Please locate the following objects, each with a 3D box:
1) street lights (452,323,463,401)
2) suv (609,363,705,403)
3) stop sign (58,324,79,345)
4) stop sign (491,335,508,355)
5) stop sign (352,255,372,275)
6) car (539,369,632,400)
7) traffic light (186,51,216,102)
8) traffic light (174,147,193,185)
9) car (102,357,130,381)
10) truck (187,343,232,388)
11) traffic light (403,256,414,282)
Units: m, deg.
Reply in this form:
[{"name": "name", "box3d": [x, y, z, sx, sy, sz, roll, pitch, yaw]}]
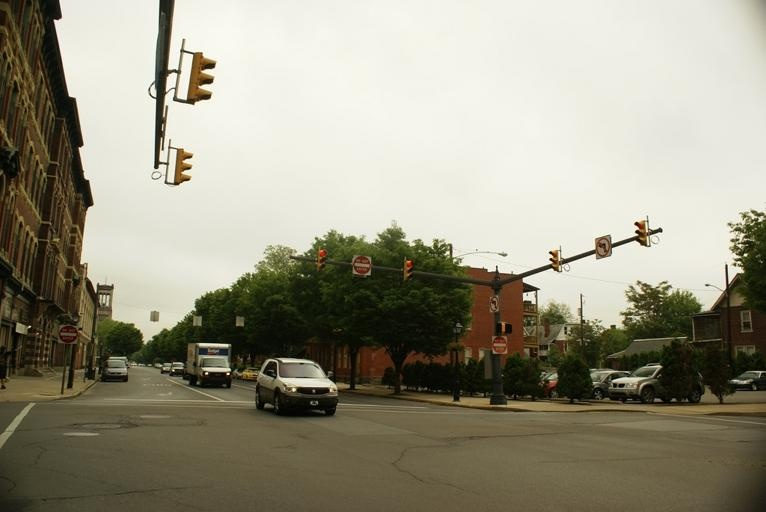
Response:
[{"name": "street lights", "box3d": [4.325, 6.233, 44.174, 0.958, 4.635, 0.817, 3, -10, 1]}, {"name": "suv", "box3d": [13.989, 6.898, 39.883, 5.099, 2.121, 2.142, 3, -6, -23]}, {"name": "stop sign", "box3d": [-16.112, 3.906, 38.385, 0.764, 1.020, 1.407, 9, -16, -19]}, {"name": "stop sign", "box3d": [6.082, 4.647, 39.159, 0.693, 1.016, 1.645, 2, -15, 7]}, {"name": "stop sign", "box3d": [-1.080, 0.452, 37.473, 0.977, 1.029, 0.338, 3, -10, -18]}, {"name": "car", "box3d": [11.970, 7.372, 44.325, 4.607, 1.637, 2.438, 9, -14, -30]}, {"name": "traffic light", "box3d": [-5.675, -5.486, 23.235, 0.815, 1.733, 0.409, 6, -14, -9]}, {"name": "traffic light", "box3d": [-6.994, -3.039, 26.008, 0.645, 1.347, 0.251, 10, -26, -24]}, {"name": "car", "box3d": [-20.801, 8.703, 58.253, 1.661, 1.476, 2.958, 3, -19, -18]}, {"name": "truck", "box3d": [-12.084, 7.504, 52.608, 2.190, 3.408, 6.457, 9, -16, -20]}, {"name": "traffic light", "box3d": [1.254, 0.620, 37.783, 0.500, 1.014, 0.720, 4, -14, 0]}]
